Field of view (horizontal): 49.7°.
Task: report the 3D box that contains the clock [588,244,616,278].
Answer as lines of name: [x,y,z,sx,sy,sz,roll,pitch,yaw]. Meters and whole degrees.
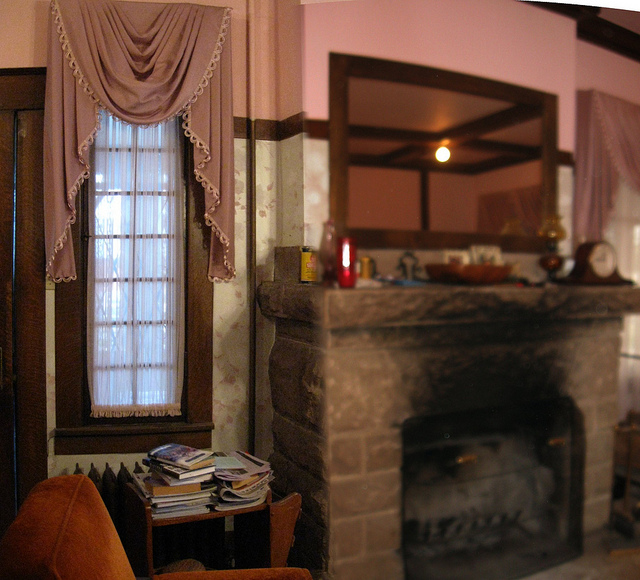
clock: [0.278,-0.031,0.692,0.029,0.033,0.007,-33,25,-24]

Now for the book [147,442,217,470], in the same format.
book: [-0.393,0.465,1.926,0.112,0.028,0.087,12,7,38]
